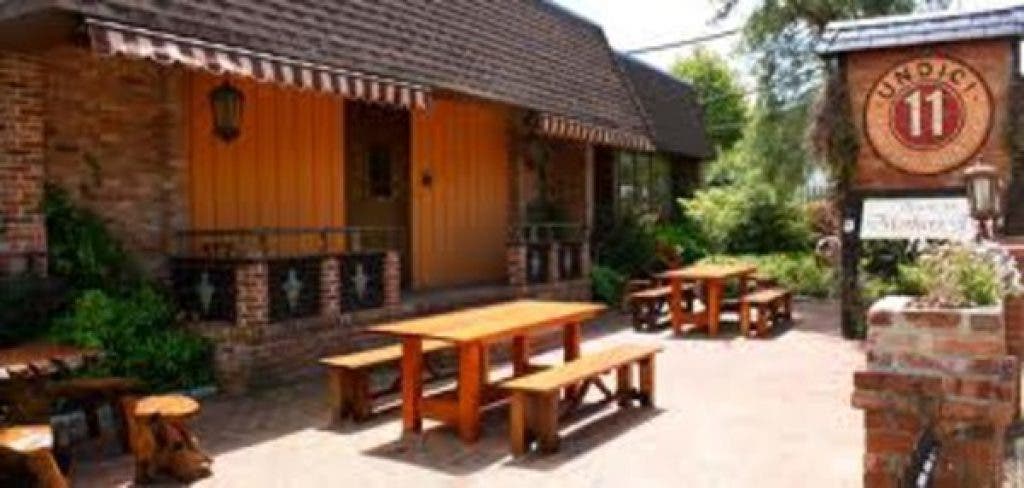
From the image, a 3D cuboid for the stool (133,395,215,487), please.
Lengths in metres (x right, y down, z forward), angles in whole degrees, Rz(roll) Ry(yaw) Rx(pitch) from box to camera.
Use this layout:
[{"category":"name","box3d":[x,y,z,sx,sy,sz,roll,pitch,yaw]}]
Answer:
[{"category":"stool","box3d":[-5.210,3.063,10.821,1.496,1.175,1.194,-1,7,-14]}]

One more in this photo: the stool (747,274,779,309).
[{"category":"stool","box3d":[7.077,1.263,18.794,0.764,0.661,0.757,2,7,32]}]

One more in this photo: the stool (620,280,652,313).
[{"category":"stool","box3d":[3.633,1.526,19.095,0.999,0.832,0.923,-1,-2,2]}]

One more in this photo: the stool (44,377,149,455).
[{"category":"stool","box3d":[-6.820,2.611,10.997,1.833,1.048,1.279,0,0,-6]}]

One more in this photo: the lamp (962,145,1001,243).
[{"category":"lamp","box3d":[9.041,-0.904,12.743,1.088,1.262,0.502,-5,1,-41]}]
